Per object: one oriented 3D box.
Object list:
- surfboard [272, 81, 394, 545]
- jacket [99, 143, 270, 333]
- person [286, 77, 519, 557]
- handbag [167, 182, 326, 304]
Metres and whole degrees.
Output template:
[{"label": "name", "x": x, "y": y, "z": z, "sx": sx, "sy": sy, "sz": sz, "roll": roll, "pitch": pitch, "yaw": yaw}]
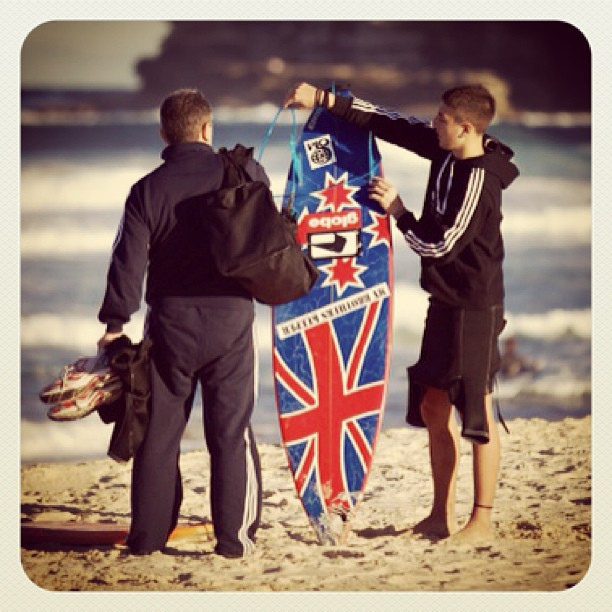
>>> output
[{"label": "surfboard", "x": 0.151, "y": 0.064, "z": 7.223, "sx": 0.507, "sy": 2.275, "sz": 0.354, "roll": 1, "pitch": 0, "yaw": 3}, {"label": "jacket", "x": -0.585, "y": -0.286, "z": 6.596, "sx": 0.617, "sy": 0.832, "sz": 0.215, "roll": 2, "pitch": 6, "yaw": 8}, {"label": "person", "x": 0.513, "y": -0.002, "z": 7.346, "sx": 1.020, "sy": 2.215, "sz": 0.976, "roll": 2, "pitch": 6, "yaw": 12}, {"label": "handbag", "x": -0.364, "y": -0.332, "z": 6.959, "sx": 0.611, "sy": 0.411, "sz": 0.995, "roll": 10, "pitch": -5, "yaw": -3}]
